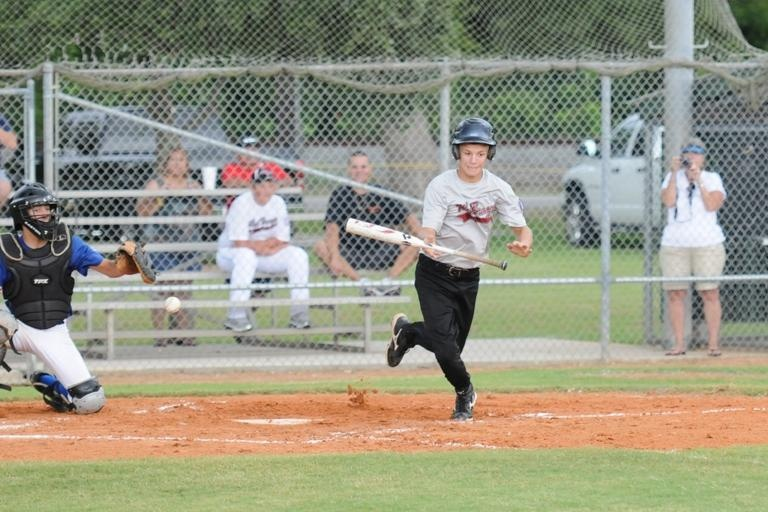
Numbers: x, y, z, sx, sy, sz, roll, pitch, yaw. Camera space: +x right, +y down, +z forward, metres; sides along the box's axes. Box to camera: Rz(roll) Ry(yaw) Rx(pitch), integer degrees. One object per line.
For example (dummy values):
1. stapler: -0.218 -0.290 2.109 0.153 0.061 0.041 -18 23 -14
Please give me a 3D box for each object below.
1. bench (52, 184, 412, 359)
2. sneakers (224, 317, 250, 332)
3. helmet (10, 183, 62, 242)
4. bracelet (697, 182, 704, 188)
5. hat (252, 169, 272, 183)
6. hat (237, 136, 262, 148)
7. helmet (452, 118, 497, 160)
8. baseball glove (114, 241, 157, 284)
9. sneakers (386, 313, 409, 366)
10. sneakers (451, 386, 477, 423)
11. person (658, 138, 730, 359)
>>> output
1. bench: -1.670 0.124 16.228 4.328 1.488 0.899 0 -13 -9
2. sneakers: -1.582 0.748 16.253 0.328 0.124 0.120 1 1 15
3. helmet: -3.245 -0.426 14.399 0.592 0.489 0.475 -1 2 25
4. bracelet: 3.439 -0.778 16.275 0.048 0.068 0.068 -5 -35 -2
5. hat: -1.353 -0.902 16.547 0.225 0.158 0.111 -2 3 -5
6. hat: -1.527 -1.298 16.917 0.269 0.072 0.240 0 3 9
7. helmet: 0.836 -1.129 13.993 0.422 0.326 0.406 1 23 4
8. baseball glove: -2.365 0.053 14.253 0.349 0.401 0.257 -3 3 -7
9. sneakers: 0.158 0.839 14.932 0.248 0.508 0.194 19 18 32
10. sneakers: 0.768 1.419 14.223 0.162 0.372 0.174 5 -14 22
11. person: 3.363 -0.092 16.409 0.702 2.383 0.428 -1 4 17
